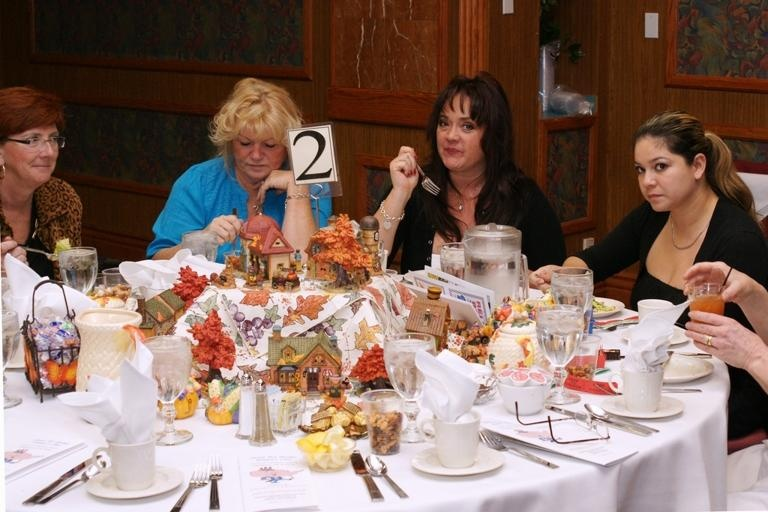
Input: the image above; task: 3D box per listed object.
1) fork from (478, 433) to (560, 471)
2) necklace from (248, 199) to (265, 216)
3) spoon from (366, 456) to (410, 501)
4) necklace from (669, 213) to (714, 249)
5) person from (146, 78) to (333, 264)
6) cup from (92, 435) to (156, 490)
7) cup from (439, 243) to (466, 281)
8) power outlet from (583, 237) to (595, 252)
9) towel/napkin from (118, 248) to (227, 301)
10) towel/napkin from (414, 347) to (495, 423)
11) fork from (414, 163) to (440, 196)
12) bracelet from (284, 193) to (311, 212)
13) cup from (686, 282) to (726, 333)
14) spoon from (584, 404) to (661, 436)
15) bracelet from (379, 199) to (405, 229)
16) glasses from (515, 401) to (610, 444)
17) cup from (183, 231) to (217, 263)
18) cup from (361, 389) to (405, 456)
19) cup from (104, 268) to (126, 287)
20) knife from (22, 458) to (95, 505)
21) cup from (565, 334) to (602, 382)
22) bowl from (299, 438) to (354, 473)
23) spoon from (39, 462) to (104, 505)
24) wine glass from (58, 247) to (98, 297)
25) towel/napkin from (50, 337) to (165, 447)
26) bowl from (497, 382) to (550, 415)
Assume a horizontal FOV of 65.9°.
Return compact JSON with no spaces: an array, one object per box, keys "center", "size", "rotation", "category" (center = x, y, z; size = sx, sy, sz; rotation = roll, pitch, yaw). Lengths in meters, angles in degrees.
[{"center":[0.335,0.490,1.475],"size":[0.153,0.024,0.028],"rotation":[30,41,35],"category":"fork"},{"center":[-0.650,-0.243,2.981],"size":[0.086,0.048,0.121],"rotation":[-15,33,3],"category":"necklace"},{"center":[-0.006,0.508,1.394],"size":[0.036,0.032,0.179],"rotation":[-3,18,-15],"category":"spoon"},{"center":[1.407,-0.114,2.762],"size":[0.035,0.139,0.146],"rotation":[8,2,-29],"category":"necklace"},{"center":[-0.793,-0.405,3.147],"size":[0.909,0.971,0.637],"rotation":[-1,26,-18],"category":"person"},{"center":[-0.598,0.475,1.346],"size":[0.141,0.111,0.093],"rotation":[-1,-5,-17],"category":"cup"},{"center":[0.251,0.014,2.306],"size":[0.116,0.178,0.120],"rotation":[0,0,0],"category":"cup"},{"center":[1.457,-0.085,4.219],"size":[0.118,0.117,0.041],"rotation":[-5,3,-42],"category":"power outlet"},{"center":[-0.782,0.054,2.103],"size":[0.240,0.087,0.243],"rotation":[-11,15,-27],"category":"towel/napkin"},{"center":[0.165,0.291,1.452],"size":[0.148,0.167,0.058],"rotation":[12,12,18],"category":"towel/napkin"},{"center":[0.207,-0.413,3.193],"size":[0.042,0.057,0.360],"rotation":[24,13,-23],"category":"fork"},{"center":[-0.425,-0.265,2.835],"size":[0.139,0.068,0.075],"rotation":[0,9,9],"category":"bracelet"},{"center":[1.081,0.133,1.997],"size":[0.116,0.144,0.128],"rotation":[-8,20,14],"category":"cup"},{"center":[0.635,0.445,1.605],"size":[0.215,0.031,0.066],"rotation":[18,24,41],"category":"spoon"},{"center":[0.035,-0.223,3.182],"size":[0.126,0.148,0.088],"rotation":[-2,9,-2],"category":"bracelet"},{"center":[0.463,0.441,1.583],"size":[0.193,0.064,0.207],"rotation":[-5,-7,-4],"category":"glasses"},{"center":[-0.759,-0.039,2.355],"size":[0.111,0.136,0.117],"rotation":[0,12,0],"category":"cup"},{"center":[0.006,0.415,1.517],"size":[0.127,0.164,0.133],"rotation":[-3,2,0],"category":"cup"},{"center":[-1.022,0.077,2.238],"size":[0.075,0.089,0.075],"rotation":[0,4,0],"category":"cup"},{"center":[-0.762,0.523,1.368],"size":[0.032,0.026,0.231],"rotation":[11,14,9],"category":"knife"},{"center":[0.674,0.338,1.977],"size":[0.146,0.132,0.137],"rotation":[-2,10,0],"category":"cup"},{"center":[-0.138,0.474,1.412],"size":[0.088,0.046,0.089],"rotation":[2,-1,0],"category":"bowl"},{"center":[-0.722,0.523,1.357],"size":[0.020,0.021,0.171],"rotation":[16,24,22],"category":"spoon"},{"center":[-1.154,0.077,2.212],"size":[0.135,0.233,0.144],"rotation":[2,15,-18],"category":"wine glass"},{"center":[-0.635,0.358,1.344],"size":[0.161,0.178,0.173],"rotation":[-30,-7,36],"category":"towel/napkin"},{"center":[0.385,0.404,1.684],"size":[0.140,0.093,0.146],"rotation":[1,-3,0],"category":"bowl"}]
